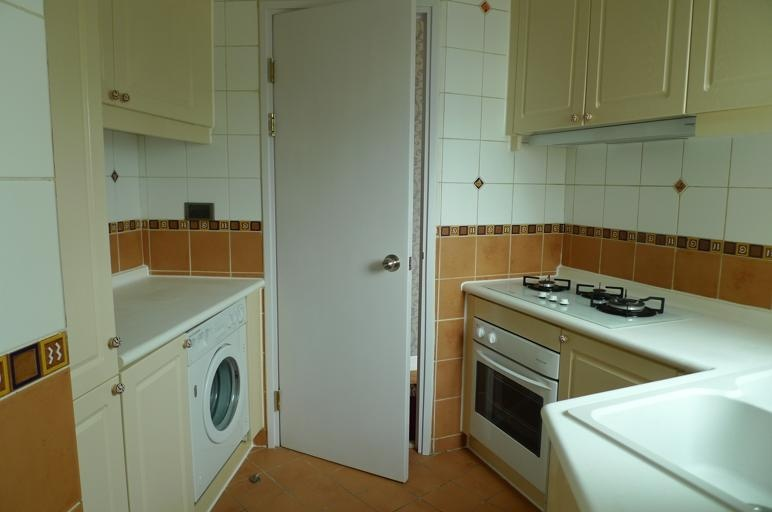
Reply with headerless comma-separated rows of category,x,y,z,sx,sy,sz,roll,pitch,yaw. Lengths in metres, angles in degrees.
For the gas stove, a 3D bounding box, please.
gas stove,0.947,0.215,2.853,0.469,0.108,1.011,-8,10,-36
